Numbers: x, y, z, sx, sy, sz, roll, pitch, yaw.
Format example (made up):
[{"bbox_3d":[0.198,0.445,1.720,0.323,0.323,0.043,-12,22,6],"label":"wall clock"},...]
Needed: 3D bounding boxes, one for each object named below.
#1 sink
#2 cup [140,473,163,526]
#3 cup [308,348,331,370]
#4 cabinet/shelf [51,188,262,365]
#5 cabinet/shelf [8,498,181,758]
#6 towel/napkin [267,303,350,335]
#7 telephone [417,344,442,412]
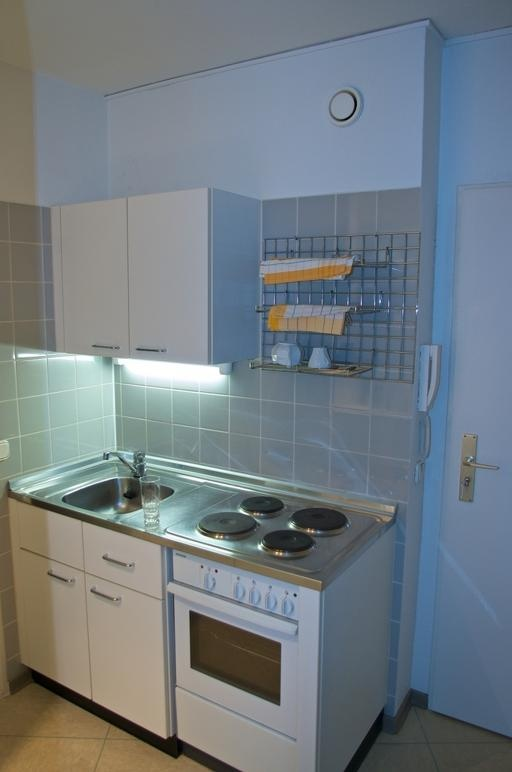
[{"bbox_3d":[-0.561,0.441,2.350,0.177,0.092,0.223,13,18,36],"label":"sink"},{"bbox_3d":[-0.357,0.392,1.979,0.056,0.160,0.129,-2,7,-11],"label":"cup"},{"bbox_3d":[0.217,-0.091,1.991,0.063,0.075,0.072,-2,-3,2],"label":"cup"},{"bbox_3d":[-0.408,-0.390,2.293,0.799,0.618,0.310,6,8,33],"label":"cabinet/shelf"},{"bbox_3d":[-0.579,0.890,2.129,0.764,0.830,0.451,6,9,36],"label":"cabinet/shelf"},{"bbox_3d":[0.181,-0.232,1.993,0.117,0.094,0.319,-6,9,-37],"label":"towel/napkin"},{"bbox_3d":[0.607,-0.026,2.013,0.111,0.234,0.060,-4,8,-29],"label":"telephone"}]
